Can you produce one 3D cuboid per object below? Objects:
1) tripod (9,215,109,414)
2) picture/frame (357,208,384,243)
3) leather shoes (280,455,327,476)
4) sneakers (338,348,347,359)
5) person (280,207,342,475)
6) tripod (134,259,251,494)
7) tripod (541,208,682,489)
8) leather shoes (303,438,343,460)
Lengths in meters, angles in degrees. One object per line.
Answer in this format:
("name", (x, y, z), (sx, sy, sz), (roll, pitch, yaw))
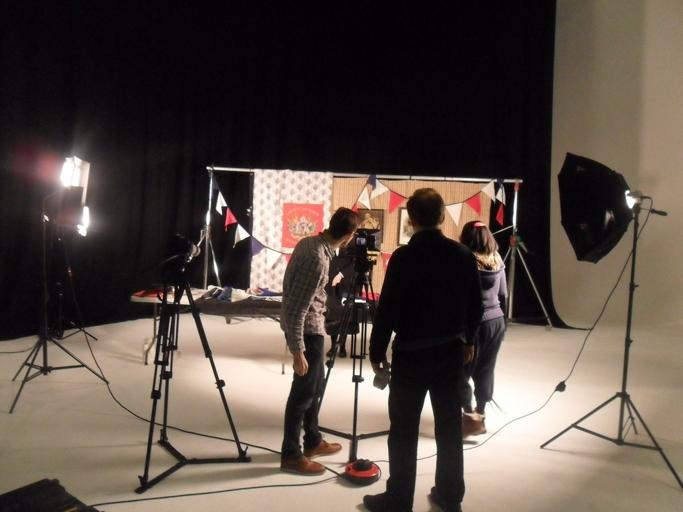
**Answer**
("tripod", (-2.984, 0.393, 6.005), (0.814, 1.758, 1.877), (-5, 14, -26))
("picture/frame", (0.379, -0.412, 7.876), (0.395, 0.518, 0.040), (3, -23, -3))
("leather shoes", (-0.295, 1.614, 4.558), (0.322, 0.149, 0.145), (0, -1, -2))
("sneakers", (0.019, 1.128, 6.879), (0.054, 0.140, 0.138), (2, 8, 12))
("person", (-0.234, 0.649, 4.523), (0.445, 1.975, 0.554), (4, 13, 15))
("tripod", (-1.349, 0.696, 5.001), (0.808, 1.681, 1.650), (-3, 13, -17))
("tripod", (2.461, 0.584, 5.079), (1.054, 2.057, 1.335), (7, 14, 26))
("leather shoes", (-0.147, 1.556, 4.777), (0.326, 0.157, 0.121), (-2, 1, -23))
